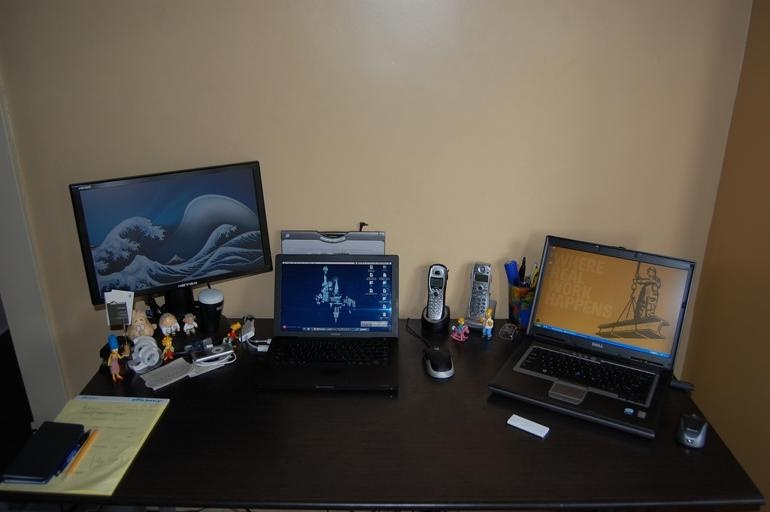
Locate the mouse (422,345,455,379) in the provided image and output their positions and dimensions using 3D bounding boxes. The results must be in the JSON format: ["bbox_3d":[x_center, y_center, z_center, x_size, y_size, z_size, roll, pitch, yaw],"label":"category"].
[{"bbox_3d":[0.200,0.392,2.148,0.110,0.051,0.196,2,34,-12],"label":"mouse"}]

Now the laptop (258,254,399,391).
[{"bbox_3d":[-0.211,0.248,2.028,0.539,0.506,0.331,1,4,-1],"label":"laptop"}]

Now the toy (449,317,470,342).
[{"bbox_3d":[0.318,0.322,2.361,0.106,0.107,0.062,4,8,26],"label":"toy"}]

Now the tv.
[{"bbox_3d":[-0.854,-0.026,2.196,0.718,0.652,0.270,-7,23,-16],"label":"tv"}]

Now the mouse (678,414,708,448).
[{"bbox_3d":[1.064,0.595,1.872,0.084,0.044,0.149,7,23,34],"label":"mouse"}]
